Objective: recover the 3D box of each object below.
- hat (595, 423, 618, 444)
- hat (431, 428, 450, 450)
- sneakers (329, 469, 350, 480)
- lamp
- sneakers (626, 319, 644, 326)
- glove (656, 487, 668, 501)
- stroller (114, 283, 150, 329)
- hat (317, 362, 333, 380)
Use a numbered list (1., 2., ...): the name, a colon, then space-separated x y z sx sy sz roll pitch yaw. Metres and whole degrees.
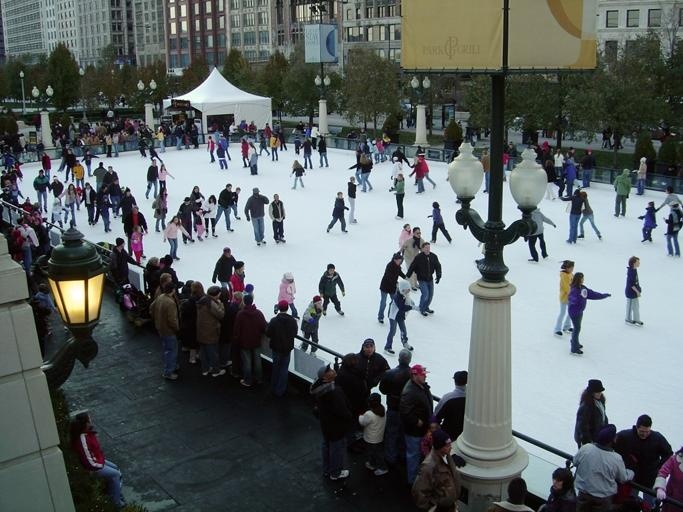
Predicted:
1. hat: 3.299 2.256 7.570 0.202 0.327 0.303 7 15 36
2. hat: 1.231 2.327 7.708 0.210 0.214 0.207 -20 18 11
3. sneakers: -0.043 3.362 9.323 0.286 0.150 0.128 -16 28 -24
4. lamp: -2.474 0.541 5.580 0.699 1.510 0.461 3 11 24
5. sneakers: 7.521 1.704 15.618 0.439 0.199 0.152 7 15 39
6. glove: 3.926 2.943 7.448 0.126 0.138 0.140 -11 15 11
7. stroller: -5.291 1.306 15.360 0.969 0.522 0.585 28 21 14
8. hat: -0.244 1.733 9.089 0.226 0.106 0.162 -45 17 -33
